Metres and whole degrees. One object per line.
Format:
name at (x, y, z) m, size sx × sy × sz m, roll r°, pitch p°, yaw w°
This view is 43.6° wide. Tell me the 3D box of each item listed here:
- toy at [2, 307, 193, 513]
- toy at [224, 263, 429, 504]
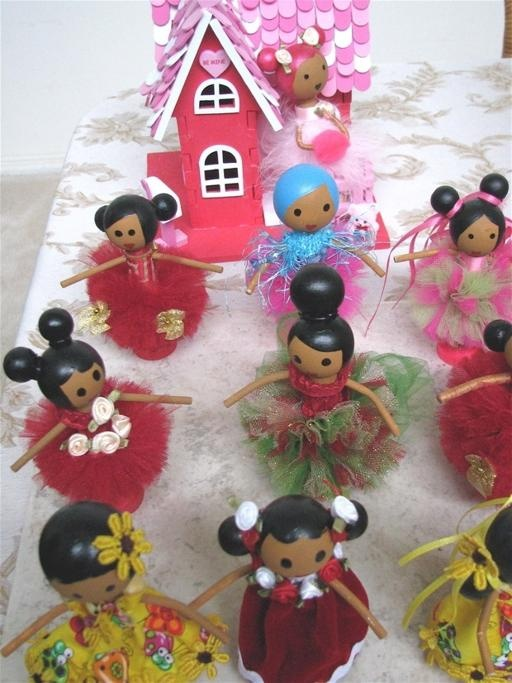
toy at (-0.366, 0.176, 1.519) m, size 0.282 × 0.360 × 0.319 m, roll 27°, pitch 59°, yaw 26°
toy at (0.162, 0.083, 1.429) m, size 0.438 × 0.519 × 0.410 m, roll 10°, pitch 46°, yaw 15°
